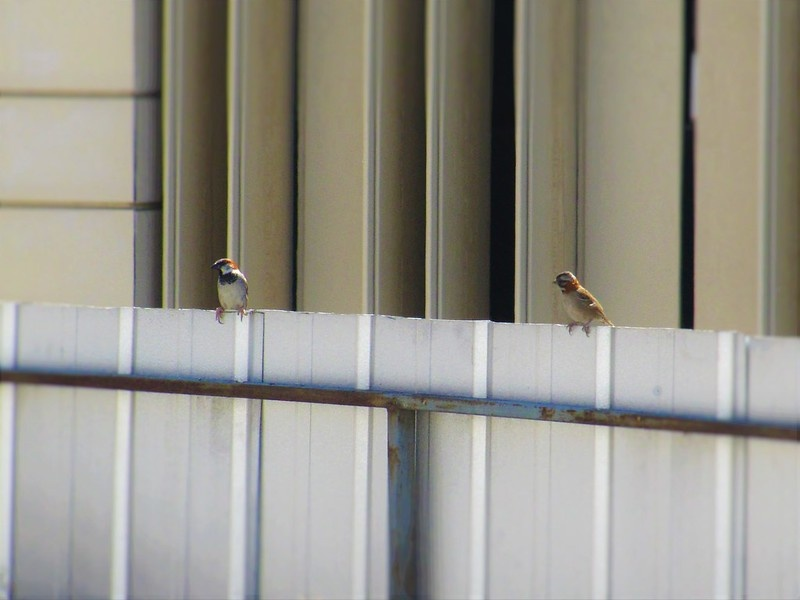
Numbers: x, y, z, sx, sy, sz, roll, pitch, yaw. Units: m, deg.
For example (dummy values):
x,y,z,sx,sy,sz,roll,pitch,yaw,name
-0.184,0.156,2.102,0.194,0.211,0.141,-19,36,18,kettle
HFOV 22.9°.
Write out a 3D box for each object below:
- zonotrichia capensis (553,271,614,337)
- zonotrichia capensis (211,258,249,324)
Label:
x,y,z,sx,sy,sz,roll,pitch,yaw,name
1.537,0.006,16.161,0.541,0.319,0.545,-5,-85,-25,zonotrichia capensis
-1.391,-0.095,16.531,0.224,0.534,0.597,1,-79,11,zonotrichia capensis
